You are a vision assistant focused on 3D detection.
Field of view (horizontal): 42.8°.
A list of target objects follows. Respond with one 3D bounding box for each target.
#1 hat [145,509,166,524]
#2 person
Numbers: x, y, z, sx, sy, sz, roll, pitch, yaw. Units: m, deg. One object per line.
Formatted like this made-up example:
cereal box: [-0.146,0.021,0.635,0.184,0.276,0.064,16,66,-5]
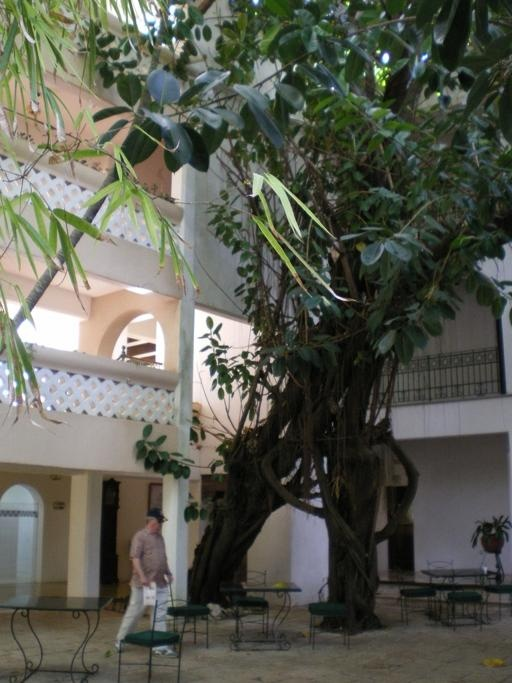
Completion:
hat: [-0.911,1.619,6.119,0.193,0.107,0.137,19,-6,-37]
person: [-0.998,2.187,5.965,0.502,1.281,1.298,2,-13,-11]
